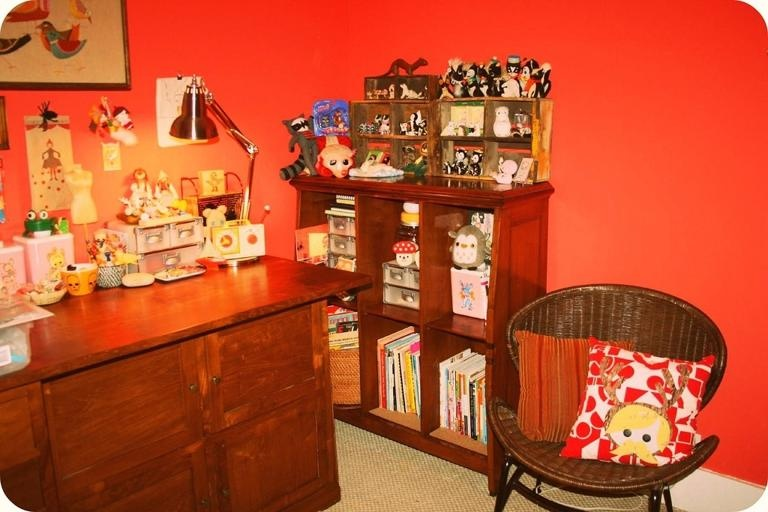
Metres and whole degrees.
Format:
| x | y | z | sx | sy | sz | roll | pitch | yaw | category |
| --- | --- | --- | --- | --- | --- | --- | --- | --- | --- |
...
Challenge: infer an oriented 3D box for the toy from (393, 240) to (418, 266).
| x | y | z | sx | sy | sz | roll | pitch | yaw | category |
| --- | --- | --- | --- | --- | --- | --- | --- | --- | --- |
| 0.132 | -0.017 | 3.489 | 0.146 | 0.157 | 0.146 | 1 | 2 | 21 | toy |

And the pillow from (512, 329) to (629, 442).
| x | y | z | sx | sy | sz | roll | pitch | yaw | category |
| --- | --- | --- | --- | --- | --- | --- | --- | --- | --- |
| 0.796 | 0.615 | 2.808 | 0.502 | 0.470 | 0.121 | 3 | -12 | 12 | pillow |

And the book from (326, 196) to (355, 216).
| x | y | z | sx | sy | sz | roll | pitch | yaw | category |
| --- | --- | --- | --- | --- | --- | --- | --- | --- | --- |
| -0.265 | -0.314 | 3.680 | 0.184 | 0.086 | 0.136 | 5 | 8 | 37 | book |

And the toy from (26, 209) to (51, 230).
| x | y | z | sx | sy | sz | roll | pitch | yaw | category |
| --- | --- | --- | --- | --- | --- | --- | --- | --- | --- |
| -1.718 | -0.181 | 2.899 | 0.105 | 0.076 | 0.103 | -2 | 3 | -29 | toy |

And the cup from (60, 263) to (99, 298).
| x | y | z | sx | sy | sz | roll | pitch | yaw | category |
| --- | --- | --- | --- | --- | --- | --- | --- | --- | --- |
| -1.466 | 0.127 | 2.829 | 0.188 | 0.113 | 0.183 | -4 | 4 | 0 | cup |

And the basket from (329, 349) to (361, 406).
| x | y | z | sx | sy | sz | roll | pitch | yaw | category |
| --- | --- | --- | --- | --- | --- | --- | --- | --- | --- |
| -0.307 | 0.774 | 3.776 | 0.214 | 0.352 | 0.218 | 10 | -16 | -34 | basket |

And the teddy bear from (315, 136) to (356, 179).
| x | y | z | sx | sy | sz | roll | pitch | yaw | category |
| --- | --- | --- | --- | --- | --- | --- | --- | --- | --- |
| -0.307 | -0.625 | 3.672 | 0.251 | 0.248 | 0.294 | 1 | 11 | -3 | teddy bear |

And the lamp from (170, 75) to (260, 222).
| x | y | z | sx | sy | sz | roll | pitch | yaw | category |
| --- | --- | --- | --- | --- | --- | --- | --- | --- | --- |
| -0.943 | -0.607 | 3.284 | 0.451 | 0.807 | 0.631 | -2 | 11 | -16 | lamp |

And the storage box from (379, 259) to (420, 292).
| x | y | z | sx | sy | sz | roll | pitch | yaw | category |
| --- | --- | --- | --- | --- | --- | --- | --- | --- | --- |
| 0.095 | 0.090 | 3.527 | 0.222 | 0.114 | 0.162 | 8 | 10 | 41 | storage box |

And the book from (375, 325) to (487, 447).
| x | y | z | sx | sy | sz | roll | pitch | yaw | category |
| --- | --- | --- | --- | --- | --- | --- | --- | --- | --- |
| 0.293 | 0.791 | 3.503 | 0.745 | 0.436 | 0.293 | 9 | 17 | 38 | book |

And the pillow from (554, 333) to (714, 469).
| x | y | z | sx | sy | sz | roll | pitch | yaw | category |
| --- | --- | --- | --- | --- | --- | --- | --- | --- | --- |
| 1.132 | 0.674 | 2.624 | 0.548 | 0.471 | 0.357 | 7 | 12 | 28 | pillow |

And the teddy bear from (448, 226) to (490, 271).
| x | y | z | sx | sy | sz | roll | pitch | yaw | category |
| --- | --- | --- | --- | --- | --- | --- | --- | --- | --- |
| 0.491 | -0.054 | 3.399 | 0.243 | 0.255 | 0.192 | 4 | 11 | 12 | teddy bear |

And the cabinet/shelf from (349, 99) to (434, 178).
| x | y | z | sx | sy | sz | roll | pitch | yaw | category |
| --- | --- | --- | --- | --- | --- | --- | --- | --- | --- |
| 0.112 | -0.754 | 3.740 | 0.554 | 0.465 | 0.167 | 5 | 13 | 24 | cabinet/shelf |

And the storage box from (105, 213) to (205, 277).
| x | y | z | sx | sy | sz | roll | pitch | yaw | category |
| --- | --- | --- | --- | --- | --- | --- | --- | --- | --- |
| -1.207 | -0.095 | 3.123 | 0.363 | 0.220 | 0.357 | 6 | 11 | 36 | storage box |

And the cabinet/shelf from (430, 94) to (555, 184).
| x | y | z | sx | sy | sz | roll | pitch | yaw | category |
| --- | --- | --- | --- | --- | --- | --- | --- | --- | --- |
| 0.615 | -0.682 | 3.369 | 0.652 | 0.448 | 0.212 | 12 | 22 | 37 | cabinet/shelf |
